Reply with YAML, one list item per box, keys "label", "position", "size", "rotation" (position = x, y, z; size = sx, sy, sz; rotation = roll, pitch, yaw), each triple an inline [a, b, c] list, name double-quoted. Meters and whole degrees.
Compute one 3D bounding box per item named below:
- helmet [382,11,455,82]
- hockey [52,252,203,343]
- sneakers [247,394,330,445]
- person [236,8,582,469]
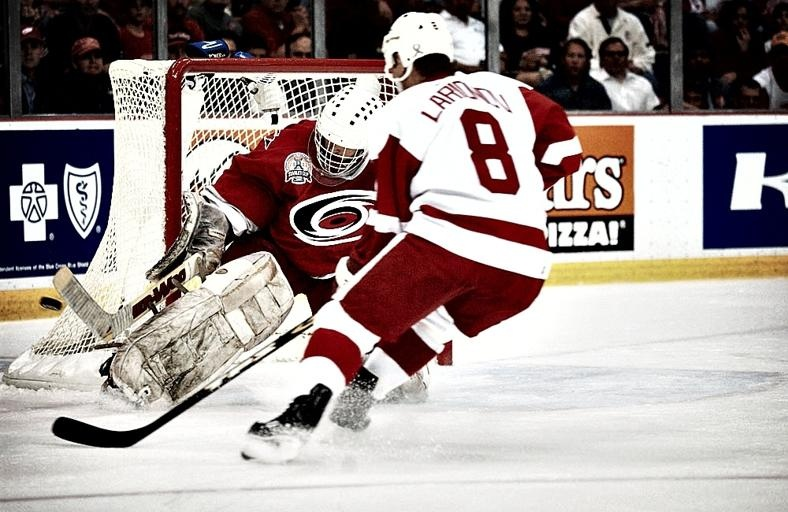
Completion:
- label: "helmet"
  position: [0.117, -0.944, 4.606]
  size: [0.330, 0.287, 0.267]
  rotation: [21, 19, 36]
- label: "hockey"
  position: [-1.344, 0.250, 5.074]
  size: [0.536, 0.554, 0.137]
  rotation: [46, -14, 31]
- label: "sneakers"
  position: [-0.400, 0.659, 4.280]
  size: [0.352, 0.141, 0.146]
  rotation: [-34, -12, -6]
- label: "person"
  position: [0.110, -0.118, 4.437]
  size: [1.484, 1.798, 0.540]
  rotation: [-5, 16, -20]
